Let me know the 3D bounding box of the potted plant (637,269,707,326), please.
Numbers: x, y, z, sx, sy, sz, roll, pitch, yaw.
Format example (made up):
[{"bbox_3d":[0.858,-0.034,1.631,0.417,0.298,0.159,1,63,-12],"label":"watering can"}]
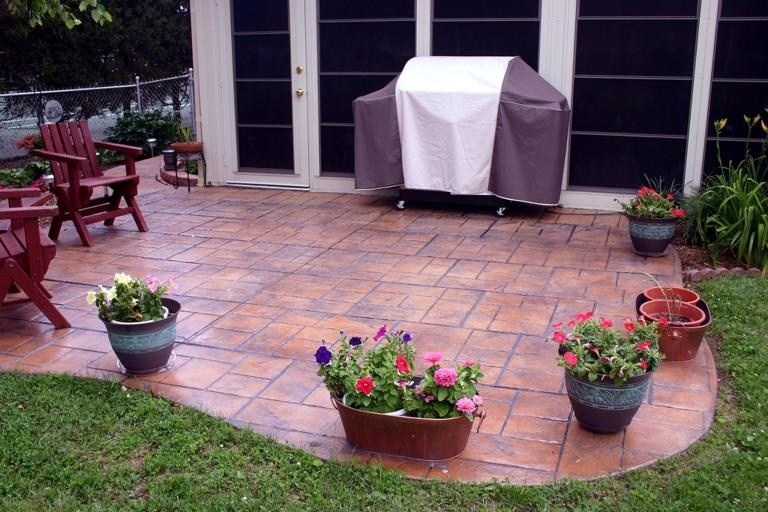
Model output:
[{"bbox_3d":[2.266,0.396,4.022,0.423,0.202,0.531,4,16,14],"label":"potted plant"}]

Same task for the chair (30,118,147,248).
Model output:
[{"bbox_3d":[-3.707,-0.970,6.583,0.949,1.244,0.972,18,23,24],"label":"chair"}]

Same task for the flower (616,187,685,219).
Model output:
[{"bbox_3d":[2.984,-0.601,5.765,0.584,0.287,0.618,5,17,19],"label":"flower"}]

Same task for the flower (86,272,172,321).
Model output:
[{"bbox_3d":[-1.883,0.281,3.826,0.432,0.278,0.419,-3,13,-33],"label":"flower"}]

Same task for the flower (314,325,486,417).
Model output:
[{"bbox_3d":[0.100,0.670,3.060,1.104,0.435,0.463,9,26,15],"label":"flower"}]

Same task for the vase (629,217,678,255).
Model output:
[{"bbox_3d":[2.935,-0.242,5.709,0.468,0.320,0.471,1,6,5],"label":"vase"}]

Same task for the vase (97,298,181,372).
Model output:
[{"bbox_3d":[-1.781,0.591,3.877,0.580,0.408,0.569,3,13,16],"label":"vase"}]
